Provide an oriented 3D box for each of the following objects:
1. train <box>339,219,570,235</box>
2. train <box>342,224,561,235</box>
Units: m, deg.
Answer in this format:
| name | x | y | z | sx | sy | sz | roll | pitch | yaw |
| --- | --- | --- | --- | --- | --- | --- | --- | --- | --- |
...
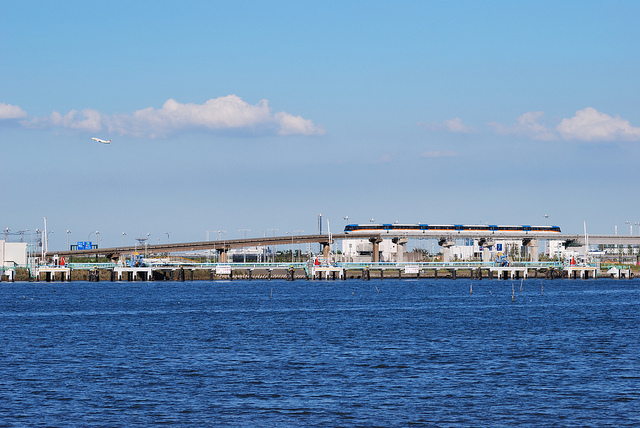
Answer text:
| name | x | y | z | sx | sy | sz | roll | pitch | yaw |
| --- | --- | --- | --- | --- | --- | --- | --- | --- | --- |
| train | 20.763 | 2.859 | 310.890 | 39.054 | 2.447 | 3.009 | 1 | -3 | -12 |
| train | 21.093 | 2.886 | 315.067 | 47.213 | 2.005 | 3.396 | 1 | 0 | -7 |
